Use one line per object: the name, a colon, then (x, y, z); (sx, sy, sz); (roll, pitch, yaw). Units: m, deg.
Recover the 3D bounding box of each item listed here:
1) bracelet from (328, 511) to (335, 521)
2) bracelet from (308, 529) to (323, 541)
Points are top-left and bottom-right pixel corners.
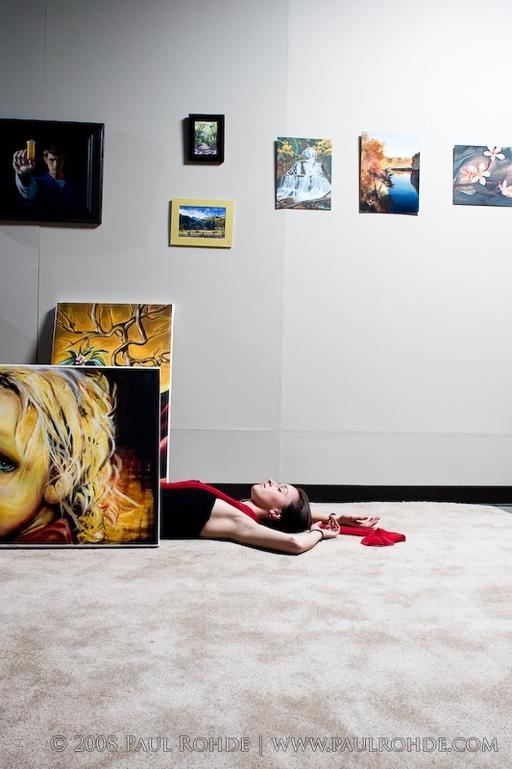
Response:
bracelet: (0.301, 0.521, 2.408); (0.027, 0.023, 0.038); (1, -2, 7)
bracelet: (0.216, 0.551, 2.202); (0.046, 0.021, 0.047); (8, 3, -25)
